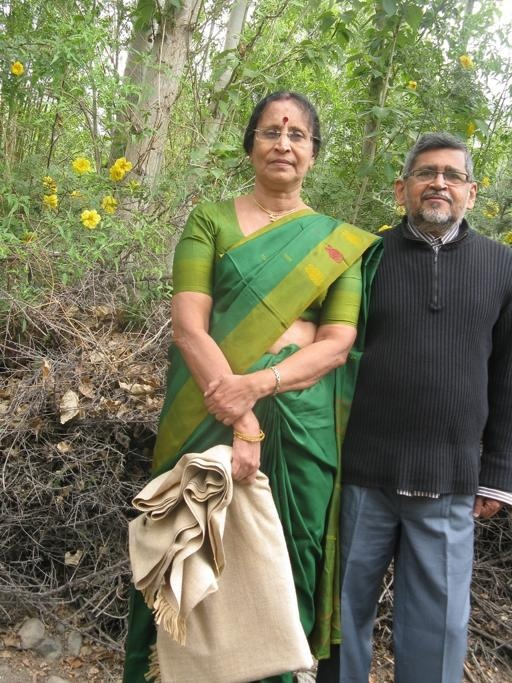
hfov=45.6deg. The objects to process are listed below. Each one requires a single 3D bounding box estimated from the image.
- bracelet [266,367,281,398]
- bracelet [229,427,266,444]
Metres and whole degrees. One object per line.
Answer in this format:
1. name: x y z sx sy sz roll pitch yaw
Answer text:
1. bracelet: 0.063 0.117 1.846 0.021 0.065 0.056 -3 15 -22
2. bracelet: -0.010 0.273 1.824 0.059 0.019 0.058 9 2 25
